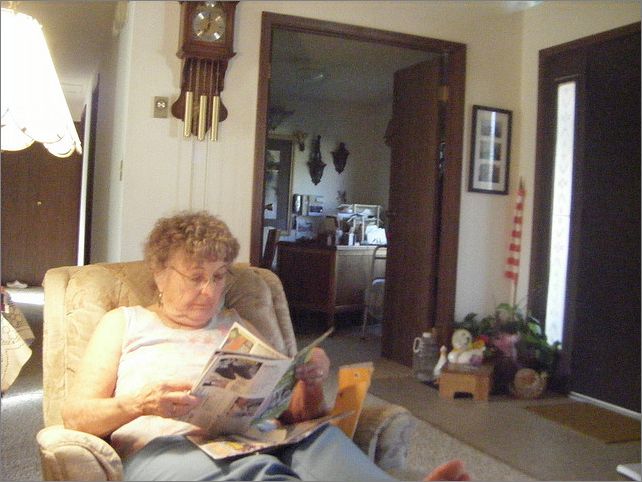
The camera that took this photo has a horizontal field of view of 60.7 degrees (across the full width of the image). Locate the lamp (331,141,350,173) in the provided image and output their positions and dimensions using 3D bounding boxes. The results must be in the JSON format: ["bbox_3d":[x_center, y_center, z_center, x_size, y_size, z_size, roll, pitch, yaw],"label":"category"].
[{"bbox_3d":[0.269,-1.096,7.197,0.258,0.410,0.103,2,5,-7],"label":"lamp"}]

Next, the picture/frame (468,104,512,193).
[{"bbox_3d":[1.310,-0.699,4.213,0.394,0.658,0.074,0,6,-25],"label":"picture/frame"}]

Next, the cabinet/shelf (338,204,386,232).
[{"bbox_3d":[0.537,-0.339,6.932,0.512,0.457,0.351,0,-1,-19],"label":"cabinet/shelf"}]

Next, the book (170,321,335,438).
[{"bbox_3d":[-0.226,0.492,1.811,0.437,0.352,0.223,-1,6,-38],"label":"book"}]

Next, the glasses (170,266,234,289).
[{"bbox_3d":[-0.459,0.128,2.072,0.121,0.036,0.121,3,13,-46],"label":"glasses"}]

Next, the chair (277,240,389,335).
[{"bbox_3d":[0.015,0.382,5.716,1.250,1.083,0.892,2,-3,-38],"label":"chair"}]

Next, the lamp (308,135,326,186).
[{"bbox_3d":[-0.046,-1.051,7.092,0.234,0.652,0.128,2,5,-6],"label":"lamp"}]

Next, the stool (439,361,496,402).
[{"bbox_3d":[0.999,0.943,3.759,0.271,0.149,0.259,1,2,13],"label":"stool"}]

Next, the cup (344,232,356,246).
[{"bbox_3d":[0.341,-0.023,5.952,0.119,0.146,0.158,2,6,19],"label":"cup"}]
